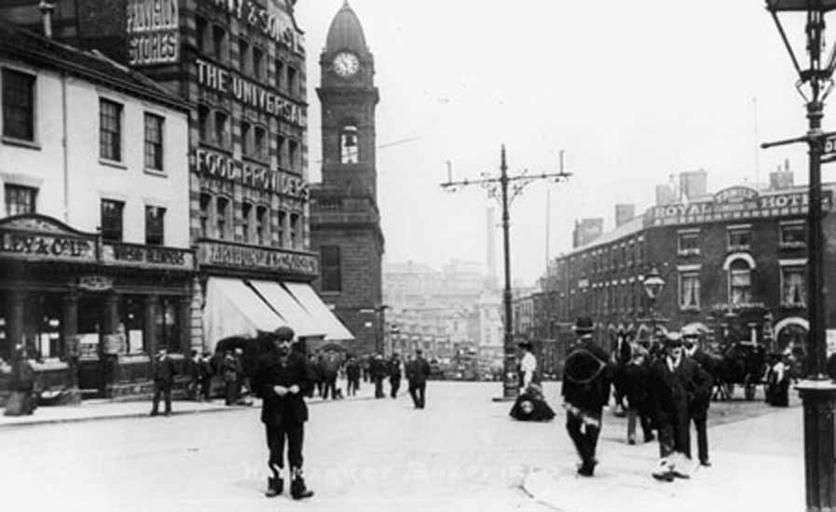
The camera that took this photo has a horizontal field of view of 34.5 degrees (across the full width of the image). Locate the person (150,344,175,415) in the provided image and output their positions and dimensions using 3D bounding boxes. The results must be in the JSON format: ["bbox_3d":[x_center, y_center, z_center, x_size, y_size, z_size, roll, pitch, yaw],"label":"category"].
[{"bbox_3d":[-9.426,4.819,49.599,0.893,2.349,1.356,-2,-6,-11],"label":"person"}]

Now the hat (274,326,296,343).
[{"bbox_3d":[-3.846,2.385,39.216,0.473,0.313,0.465,-13,29,-27],"label":"hat"}]

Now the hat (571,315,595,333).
[{"bbox_3d":[5.021,2.151,40.863,0.532,0.359,0.524,0,-6,-3],"label":"hat"}]
